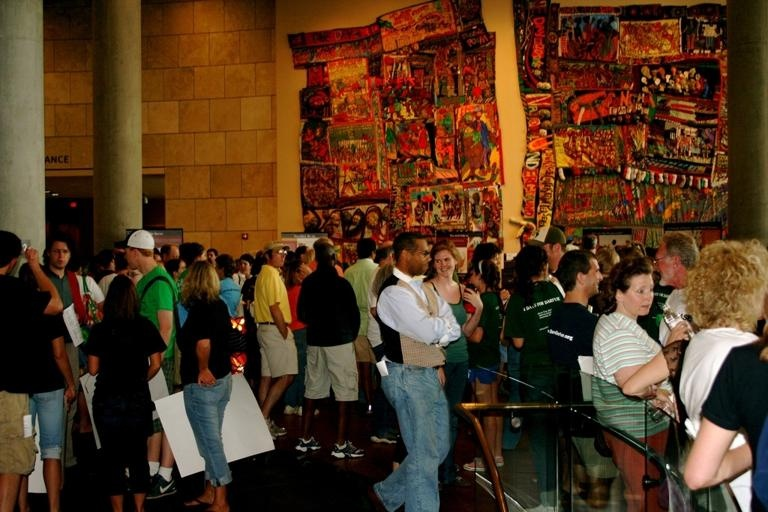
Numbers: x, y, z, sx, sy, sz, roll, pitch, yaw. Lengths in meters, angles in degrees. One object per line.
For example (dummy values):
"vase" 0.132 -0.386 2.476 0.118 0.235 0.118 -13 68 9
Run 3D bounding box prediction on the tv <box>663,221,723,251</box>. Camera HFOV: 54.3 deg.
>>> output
"tv" 4.577 -0.292 11.006 1.174 0.085 0.888 1 28 13

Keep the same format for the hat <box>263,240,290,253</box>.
"hat" -1.501 -0.146 10.015 0.215 0.106 0.323 0 -12 -44

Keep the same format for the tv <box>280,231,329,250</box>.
"tv" -1.623 -0.298 14.247 0.743 0.435 0.536 1 0 -2

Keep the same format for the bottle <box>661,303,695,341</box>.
"bottle" 2.465 0.530 6.397 0.096 0.295 0.223 -35 21 -4

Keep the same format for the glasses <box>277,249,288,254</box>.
"glasses" -1.392 -0.045 10.372 0.095 0.051 0.130 6 -1 36

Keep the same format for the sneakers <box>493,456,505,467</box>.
"sneakers" 1.067 1.916 6.936 0.090 0.121 0.057 0 8 5

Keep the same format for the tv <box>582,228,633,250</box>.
"tv" 3.910 -0.275 13.058 0.436 0.326 0.249 0 -8 8

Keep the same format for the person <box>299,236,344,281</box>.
"person" -0.997 0.063 10.942 0.400 0.836 0.787 -9 3 -7

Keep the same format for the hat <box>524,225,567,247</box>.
"hat" 2.067 -0.233 9.627 0.509 0.325 0.352 5 2 19

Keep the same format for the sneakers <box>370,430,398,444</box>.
"sneakers" -0.013 2.290 9.481 0.421 0.210 0.161 0 -3 -5

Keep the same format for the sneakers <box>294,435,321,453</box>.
"sneakers" -0.910 2.292 9.096 0.342 0.167 0.141 0 2 -31

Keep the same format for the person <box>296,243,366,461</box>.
"person" -0.670 1.133 8.966 0.798 2.506 0.610 -1 8 2

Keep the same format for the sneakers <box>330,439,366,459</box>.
"sneakers" -0.441 2.310 8.915 0.422 0.228 0.173 2 -4 -11
